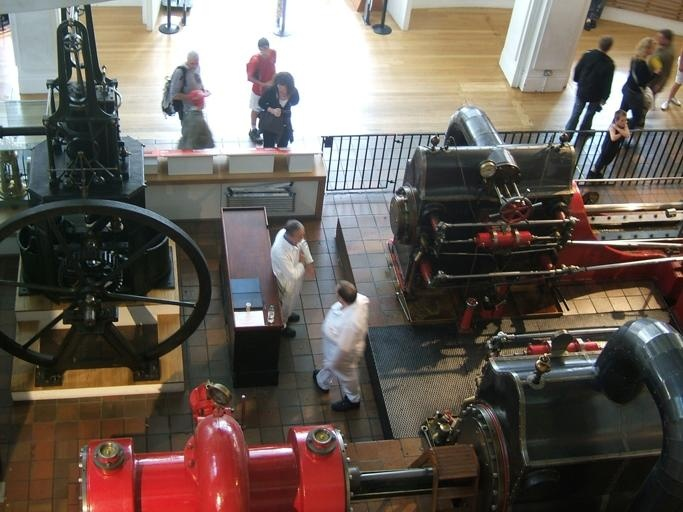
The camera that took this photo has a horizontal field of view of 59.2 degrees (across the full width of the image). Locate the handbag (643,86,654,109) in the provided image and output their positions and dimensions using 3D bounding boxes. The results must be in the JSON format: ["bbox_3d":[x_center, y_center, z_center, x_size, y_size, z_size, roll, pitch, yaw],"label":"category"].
[{"bbox_3d":[4.983,-2.568,9.781,0.084,0.330,0.232,-4,16,10],"label":"handbag"}]

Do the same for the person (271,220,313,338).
[{"bbox_3d":[-0.570,0.333,6.888,0.428,1.379,0.458,3,56,-2],"label":"person"}]

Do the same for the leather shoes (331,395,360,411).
[{"bbox_3d":[0.032,1.649,6.595,0.319,0.228,0.141,3,48,-4],"label":"leather shoes"}]

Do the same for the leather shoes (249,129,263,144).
[{"bbox_3d":[-1.308,-1.808,9.145,0.140,0.168,0.391,-17,38,-12],"label":"leather shoes"}]

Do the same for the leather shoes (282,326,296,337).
[{"bbox_3d":[-0.611,0.910,7.211,0.206,0.130,0.072,2,56,1],"label":"leather shoes"}]

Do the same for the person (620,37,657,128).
[{"bbox_3d":[4.869,-2.871,9.780,0.445,0.438,1.452,12,63,31],"label":"person"}]

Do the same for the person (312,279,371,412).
[{"bbox_3d":[-0.004,0.950,6.366,0.498,1.581,0.613,-3,23,-9],"label":"person"}]

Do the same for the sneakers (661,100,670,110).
[{"bbox_3d":[6.049,-2.811,11.273,0.091,0.107,0.255,25,63,32],"label":"sneakers"}]

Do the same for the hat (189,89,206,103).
[{"bbox_3d":[-1.947,-2.149,8.063,0.182,0.187,0.153,-6,36,-46],"label":"hat"}]

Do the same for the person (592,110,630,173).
[{"bbox_3d":[4.240,-1.748,9.431,0.450,1.058,0.701,11,25,24],"label":"person"}]

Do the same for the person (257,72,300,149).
[{"bbox_3d":[-0.883,-2.012,8.364,0.547,1.058,0.439,-2,23,-7],"label":"person"}]

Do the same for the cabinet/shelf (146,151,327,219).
[{"bbox_3d":[-1.463,-0.894,8.223,2.353,0.927,0.369,-3,23,-10],"label":"cabinet/shelf"}]

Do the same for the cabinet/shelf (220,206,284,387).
[{"bbox_3d":[-0.995,0.513,6.661,0.528,1.013,2.110,-4,58,-10],"label":"cabinet/shelf"}]

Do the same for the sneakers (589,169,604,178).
[{"bbox_3d":[4.075,-1.295,9.623,0.118,0.173,0.067,8,-5,25],"label":"sneakers"}]

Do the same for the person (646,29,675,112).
[{"bbox_3d":[5.106,-3.067,9.592,0.305,1.004,0.463,13,26,27],"label":"person"}]

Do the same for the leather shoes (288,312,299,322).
[{"bbox_3d":[-0.574,0.753,7.281,0.149,0.146,0.065,-17,59,-11],"label":"leather shoes"}]

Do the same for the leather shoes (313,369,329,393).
[{"bbox_3d":[-0.244,1.420,6.818,0.105,0.117,0.290,-5,44,-23],"label":"leather shoes"}]

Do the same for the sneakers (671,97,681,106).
[{"bbox_3d":[6.346,-2.926,11.404,0.073,0.098,0.230,-20,63,4],"label":"sneakers"}]

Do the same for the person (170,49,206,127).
[{"bbox_3d":[-2.068,-2.237,8.031,0.452,0.921,0.270,-4,23,-10],"label":"person"}]

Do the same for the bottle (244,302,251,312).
[{"bbox_3d":[-0.972,0.536,6.264,0.077,0.102,0.083,4,45,-4],"label":"bottle"}]

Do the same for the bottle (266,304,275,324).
[{"bbox_3d":[-0.732,0.616,6.271,0.088,0.109,0.216,-2,24,-7],"label":"bottle"}]
